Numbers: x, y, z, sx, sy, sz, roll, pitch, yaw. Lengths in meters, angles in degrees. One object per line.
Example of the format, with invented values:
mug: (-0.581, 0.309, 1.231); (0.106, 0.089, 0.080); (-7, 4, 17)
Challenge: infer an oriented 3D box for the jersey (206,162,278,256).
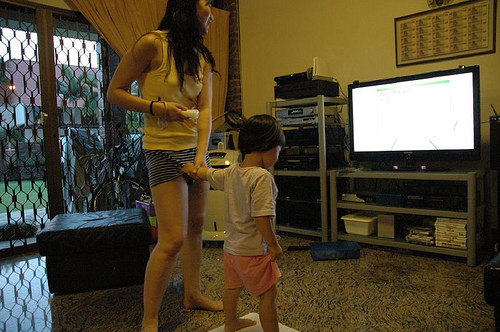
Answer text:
jersey: (-0.095, 0.237, 2.041); (0.562, 0.502, 0.207); (-6, -11, 32)

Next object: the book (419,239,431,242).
book: (1.536, 0.650, 3.112); (0.101, 0.027, 0.020); (-3, 38, 36)

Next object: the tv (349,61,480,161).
tv: (1.532, -0.472, 3.250); (0.944, 0.678, 0.076); (0, 2, 31)

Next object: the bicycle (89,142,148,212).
bicycle: (-1.469, 0.118, 3.862); (0.708, 0.780, 0.184); (-4, 15, -29)

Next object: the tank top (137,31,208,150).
tank top: (-0.432, -0.437, 2.059); (0.415, 0.685, 0.199); (-5, 8, -18)

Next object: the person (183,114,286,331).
person: (-0.036, 0.353, 1.976); (0.474, 1.257, 0.307); (-2, 8, 4)

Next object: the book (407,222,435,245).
book: (1.547, 0.611, 3.196); (0.215, 0.122, 0.187); (3, 10, 27)
